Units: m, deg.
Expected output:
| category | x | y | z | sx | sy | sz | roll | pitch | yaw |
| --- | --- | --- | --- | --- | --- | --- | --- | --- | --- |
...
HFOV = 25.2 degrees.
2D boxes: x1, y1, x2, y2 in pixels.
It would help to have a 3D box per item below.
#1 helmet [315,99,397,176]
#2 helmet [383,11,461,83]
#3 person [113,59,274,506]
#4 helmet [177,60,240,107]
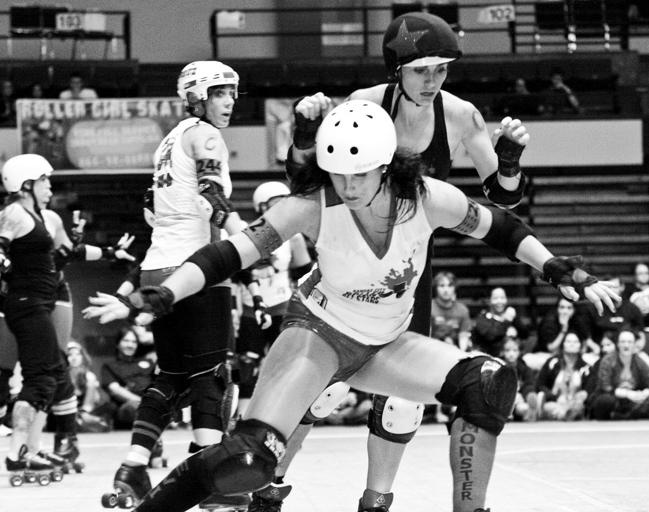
| category | x | y | z | sx | sy | sz | roll | pitch | yaw |
| --- | --- | --- | --- | --- | --- | --- | --- | --- | --- |
| helmet | 0.213 | -0.814 | 9.765 | 0.450 | 0.502 | 0.446 | -4 | 18 | -17 |
| helmet | 0.669 | -1.506 | 10.358 | 0.410 | 0.406 | 0.547 | -6 | -17 | -41 |
| person | -0.891 | 0.183 | 10.923 | 1.025 | 3.305 | 1.026 | -1 | 15 | -20 |
| helmet | -0.861 | -1.323 | 11.113 | 0.413 | 0.352 | 0.349 | -4 | 8 | 12 |
